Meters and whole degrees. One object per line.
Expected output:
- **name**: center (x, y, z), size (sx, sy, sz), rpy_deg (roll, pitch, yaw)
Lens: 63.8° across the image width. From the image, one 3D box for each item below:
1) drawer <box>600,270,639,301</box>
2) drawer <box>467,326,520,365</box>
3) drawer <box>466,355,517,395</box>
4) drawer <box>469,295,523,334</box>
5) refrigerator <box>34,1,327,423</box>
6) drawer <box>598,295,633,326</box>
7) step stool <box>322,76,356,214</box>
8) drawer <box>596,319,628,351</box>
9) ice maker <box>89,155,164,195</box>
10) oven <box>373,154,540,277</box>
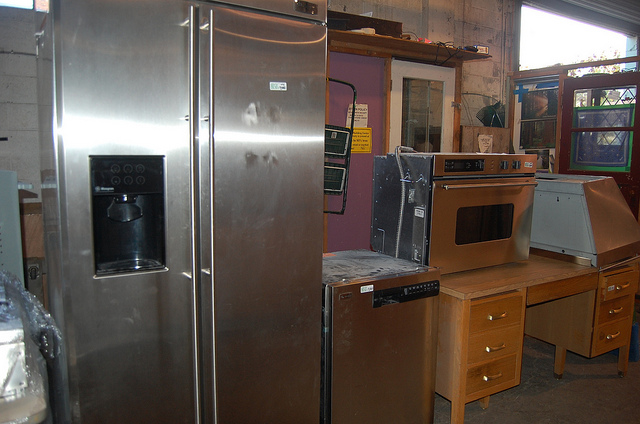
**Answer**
- **drawer**: center (2.094, 0.518, 3.631), size (0.311, 0.145, 0.203), rpy_deg (-4, 5, -25)
- **drawer**: center (1.036, 0.778, 3.100), size (0.247, 0.080, 0.213), rpy_deg (-7, 10, -33)
- **drawer**: center (1.024, 0.981, 3.103), size (0.308, 0.134, 0.193), rpy_deg (-6, 7, -30)
- **drawer**: center (1.045, 0.611, 3.071), size (0.287, 0.130, 0.215), rpy_deg (-4, 5, -26)
- **refrigerator**: center (-0.587, 0.077, 2.411), size (1.249, 2.065, 0.585), rpy_deg (-1, 15, -5)
- **drawer**: center (2.070, 0.684, 3.668), size (0.298, 0.177, 0.186), rpy_deg (-7, 9, -27)
- **step stool**: center (0.120, -0.313, 3.294), size (0.183, 0.741, 0.390), rpy_deg (1, 15, 4)
- **drawer**: center (2.075, 0.874, 3.665), size (0.287, 0.144, 0.189), rpy_deg (-8, 9, -30)
- **ice maker**: center (-0.852, -0.158, 2.275), size (0.313, 0.187, 0.166), rpy_deg (-1, 5, -22)
- **oven**: center (0.895, -0.027, 3.441), size (0.956, 0.676, 0.630), rpy_deg (-4, 8, -36)
